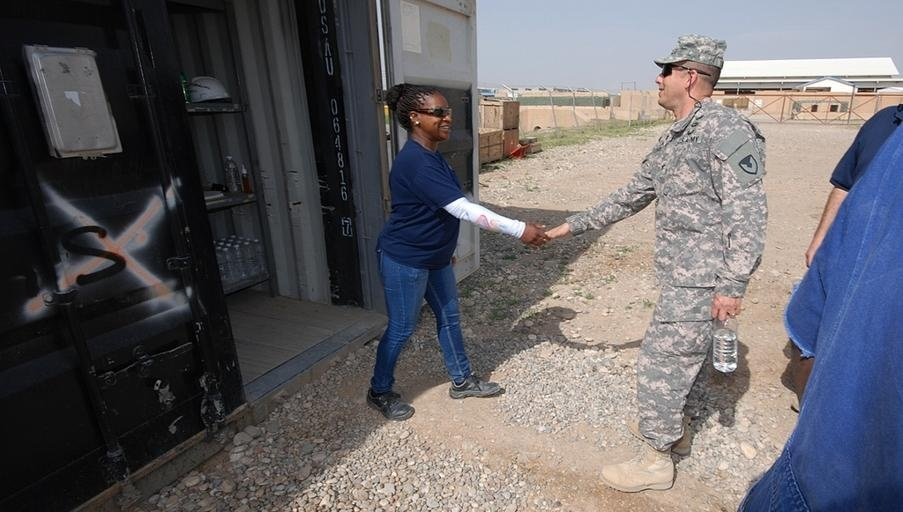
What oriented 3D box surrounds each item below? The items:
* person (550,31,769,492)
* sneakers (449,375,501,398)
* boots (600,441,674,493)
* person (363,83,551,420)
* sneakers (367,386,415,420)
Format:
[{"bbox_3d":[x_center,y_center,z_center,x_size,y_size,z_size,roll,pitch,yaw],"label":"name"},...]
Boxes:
[{"bbox_3d":[1.604,0.104,3.782,1.103,3.229,1.244,2,24,5],"label":"person"},{"bbox_3d":[0.203,1.208,4.772,0.497,0.201,0.189,-1,2,1],"label":"sneakers"},{"bbox_3d":[1.348,1.598,4.077,0.684,0.409,0.257,3,13,10],"label":"boots"},{"bbox_3d":[-0.167,0.029,4.312,1.274,2.747,0.734,-5,25,-10],"label":"person"},{"bbox_3d":[-0.531,1.313,4.504,0.477,0.188,0.203,10,19,15],"label":"sneakers"}]
